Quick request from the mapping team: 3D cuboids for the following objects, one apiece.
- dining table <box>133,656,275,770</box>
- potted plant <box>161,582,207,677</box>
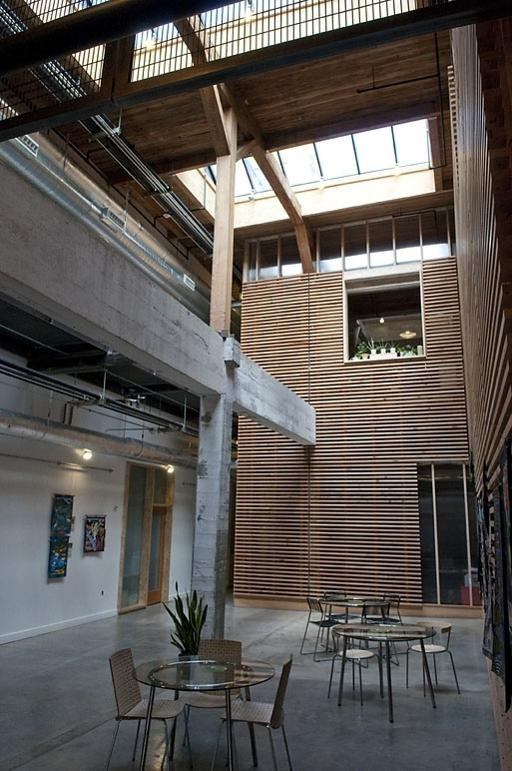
[{"bbox_3d":[-0.416,2.429,3.930,1.076,0.677,0.989,-4,-15,14],"label":"dining table"},{"bbox_3d":[-0.716,2.611,5.564,0.382,0.665,0.334,-13,-37,10],"label":"potted plant"}]
